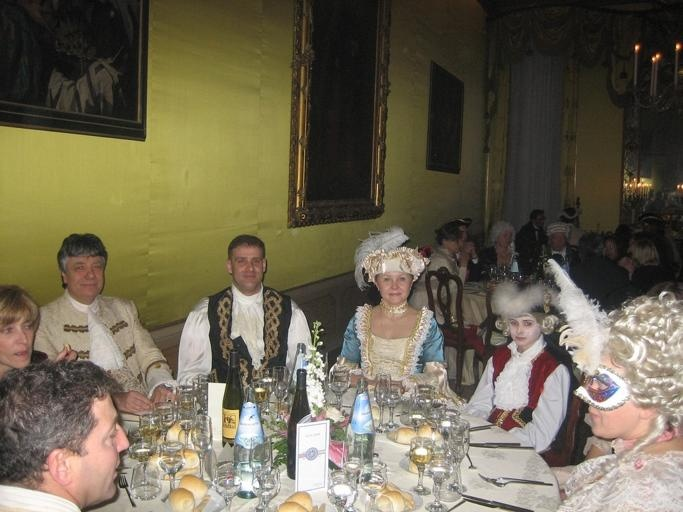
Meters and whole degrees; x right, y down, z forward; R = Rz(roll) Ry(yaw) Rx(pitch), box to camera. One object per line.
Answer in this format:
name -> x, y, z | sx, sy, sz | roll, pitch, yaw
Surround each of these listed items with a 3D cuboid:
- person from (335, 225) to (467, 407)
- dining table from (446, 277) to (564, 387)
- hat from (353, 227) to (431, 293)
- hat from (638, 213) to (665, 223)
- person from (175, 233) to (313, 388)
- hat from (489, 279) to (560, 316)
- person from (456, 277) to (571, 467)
person -> 0.304, 0.432, 3.671 | 0.989, 1.191, 0.633 | 2, 9, 14
dining table -> 1.125, 0.552, 4.134 | 0.539, 1.170, 0.485 | 29, 44, 32
hat -> 0.303, 0.052, 3.843 | 0.369, 0.396, 0.150 | -20, -20, 6
hat -> 4.415, -0.543, 8.325 | 0.348, 0.102, 0.364 | 4, 5, 13
person -> -0.584, 0.415, 3.799 | 0.906, 1.074, 0.583 | 0, 15, -15
hat -> 1.032, 0.247, 3.442 | 0.212, 0.132, 0.281 | -13, 4, -33
person -> 1.008, 0.661, 3.408 | 0.532, 0.978, 0.599 | 4, 1, -37
